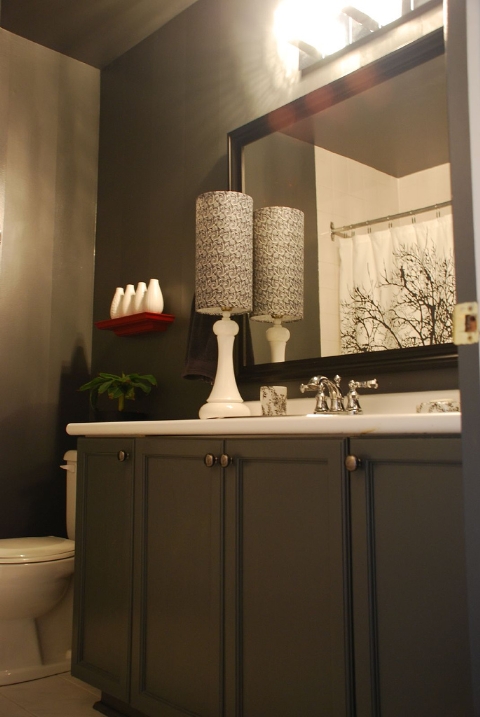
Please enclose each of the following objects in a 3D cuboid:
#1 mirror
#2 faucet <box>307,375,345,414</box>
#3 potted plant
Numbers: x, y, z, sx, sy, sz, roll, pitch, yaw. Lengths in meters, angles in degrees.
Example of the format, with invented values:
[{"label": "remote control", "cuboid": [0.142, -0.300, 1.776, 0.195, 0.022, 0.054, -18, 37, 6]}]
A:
[{"label": "mirror", "cuboid": [0.293, -0.389, 1.607, 0.066, 1.030, 0.942, 7, -12, -34]}, {"label": "faucet", "cuboid": [0.230, 0.092, 1.583, 0.090, 0.093, 0.283, -2, 0, 10]}, {"label": "potted plant", "cuboid": [-0.483, 0.160, 2.409, 0.285, 0.228, 0.318, -3, 2, 9]}]
